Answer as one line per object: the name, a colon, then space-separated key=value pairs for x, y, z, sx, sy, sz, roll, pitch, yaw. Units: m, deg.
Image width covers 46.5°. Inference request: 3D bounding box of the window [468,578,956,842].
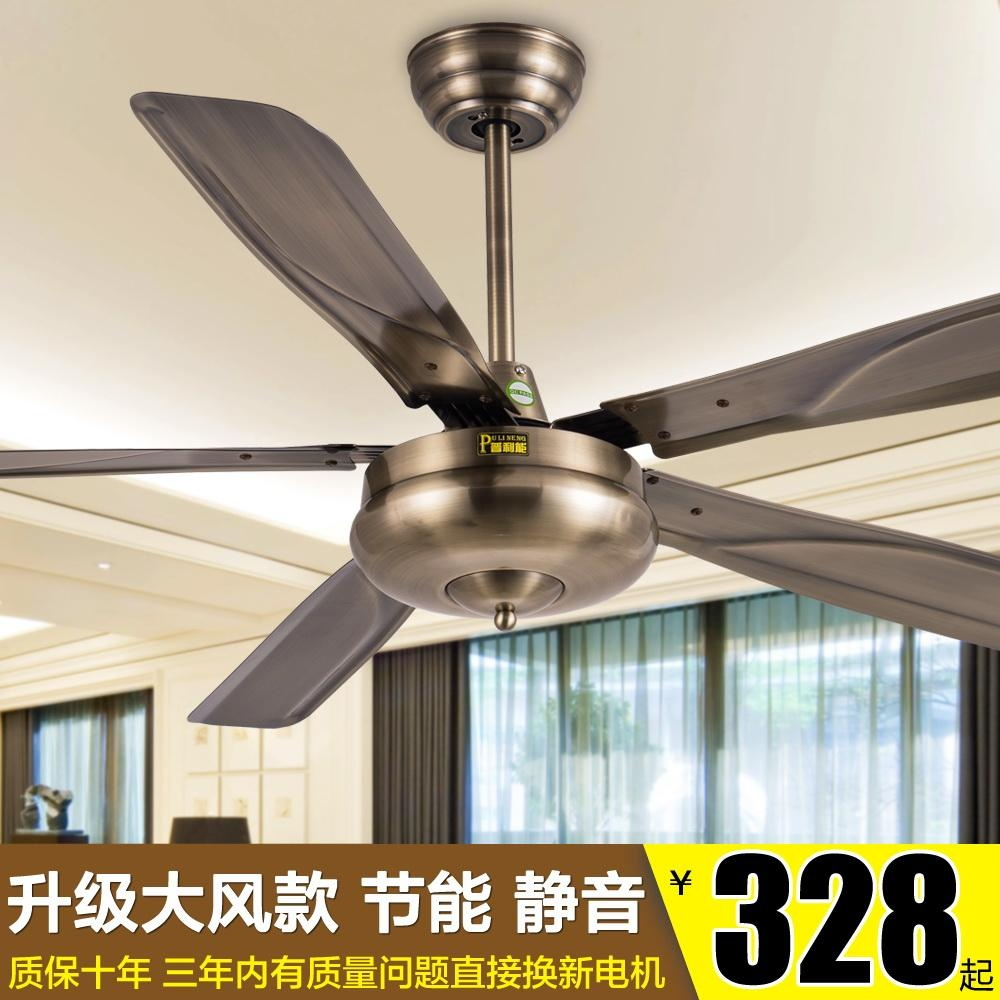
window: x=0.777 y=0.942 z=4.320 sx=0.041 sy=0.991 sz=2.102 roll=20 pitch=-23 yaw=-36
